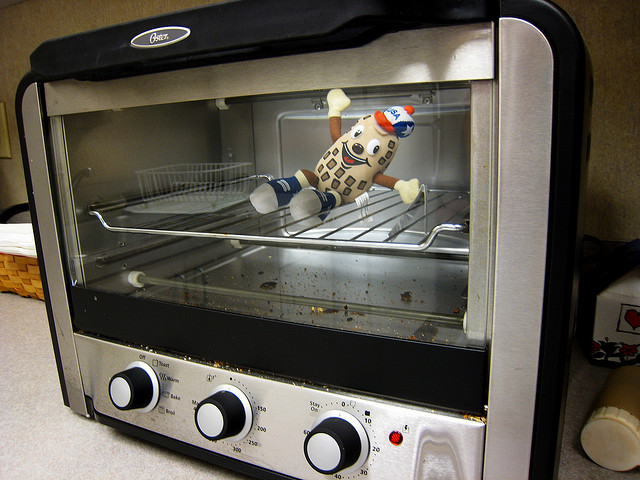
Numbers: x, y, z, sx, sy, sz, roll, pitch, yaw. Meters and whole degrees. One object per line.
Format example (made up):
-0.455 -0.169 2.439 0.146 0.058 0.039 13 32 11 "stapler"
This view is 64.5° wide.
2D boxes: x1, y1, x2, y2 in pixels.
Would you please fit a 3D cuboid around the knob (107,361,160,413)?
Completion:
-0.284 0.230 0.768 0.068 0.083 0.048 5 13 33 "knob"

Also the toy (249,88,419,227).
0.037 -0.119 0.700 0.196 0.163 0.167 9 17 36 "toy"

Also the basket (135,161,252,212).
-0.186 -0.086 0.783 0.179 0.059 0.126 3 11 26 "basket"
